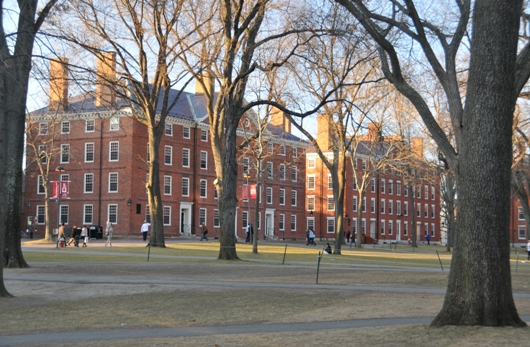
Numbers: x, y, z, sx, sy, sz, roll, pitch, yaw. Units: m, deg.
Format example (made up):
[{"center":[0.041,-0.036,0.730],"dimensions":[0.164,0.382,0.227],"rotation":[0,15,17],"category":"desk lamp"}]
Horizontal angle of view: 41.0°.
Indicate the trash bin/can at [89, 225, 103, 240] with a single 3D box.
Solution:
[{"center":[-14.866,5.232,62.325],"dimensions":[1.200,1.146,0.741],"rotation":[5,-11,-31],"category":"trash bin/can"}]
